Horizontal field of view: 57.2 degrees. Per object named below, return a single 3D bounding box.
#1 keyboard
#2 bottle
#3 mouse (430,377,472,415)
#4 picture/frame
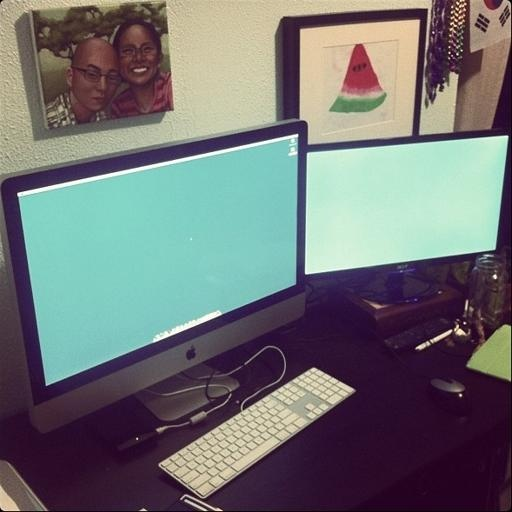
[{"bbox_3d":[-0.016,0.262,0.841,0.247,0.116,0.314,21,30,40],"label":"keyboard"},{"bbox_3d":[0.600,0.088,1.214,0.054,0.213,0.081,7,13,33],"label":"bottle"},{"bbox_3d":[0.385,0.277,0.924,0.076,0.057,0.058,10,23,41],"label":"mouse"},{"bbox_3d":[0.259,-0.476,1.228,0.406,0.382,0.080,-11,29,-18],"label":"picture/frame"}]
